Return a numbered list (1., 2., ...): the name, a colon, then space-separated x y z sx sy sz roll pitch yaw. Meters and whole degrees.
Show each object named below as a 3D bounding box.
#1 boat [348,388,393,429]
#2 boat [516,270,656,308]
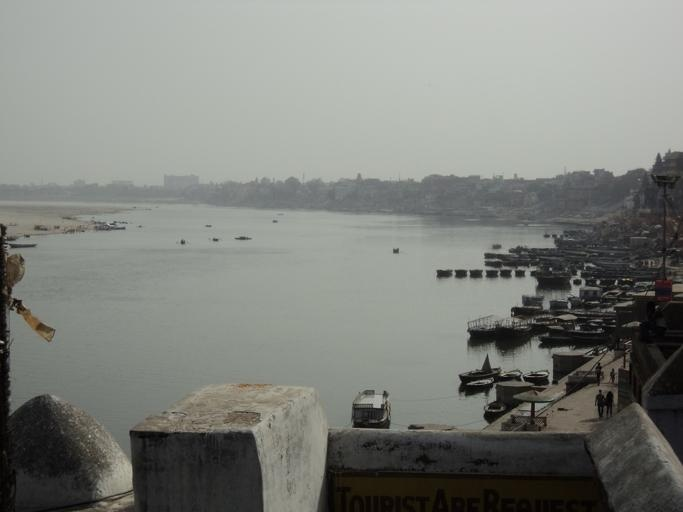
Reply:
1. boat: 0.895 4.909 35.097 0.915 1.026 2.779 0 -4 5
2. boat: 15.962 2.035 73.801 7.106 2.756 25.120 1 -2 11
